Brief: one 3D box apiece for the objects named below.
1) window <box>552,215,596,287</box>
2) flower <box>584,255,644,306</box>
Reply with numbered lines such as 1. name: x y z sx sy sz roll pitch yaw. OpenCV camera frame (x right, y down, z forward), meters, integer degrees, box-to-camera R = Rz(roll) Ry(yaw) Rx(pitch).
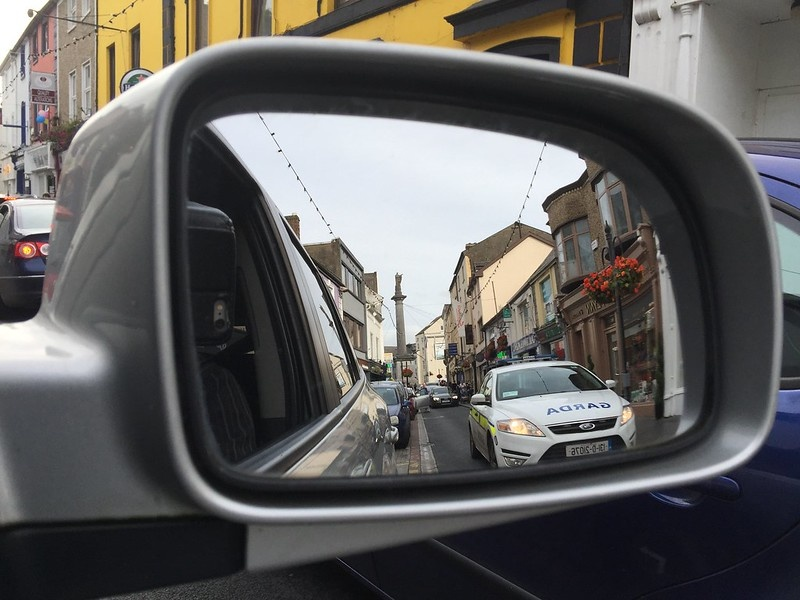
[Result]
1. window: 0.386 -0.112 1.253 0.010 0.164 0.126 -6 -1 -23
2. flower: 0.450 -0.038 1.191 0.102 0.062 0.104 -39 12 -2
